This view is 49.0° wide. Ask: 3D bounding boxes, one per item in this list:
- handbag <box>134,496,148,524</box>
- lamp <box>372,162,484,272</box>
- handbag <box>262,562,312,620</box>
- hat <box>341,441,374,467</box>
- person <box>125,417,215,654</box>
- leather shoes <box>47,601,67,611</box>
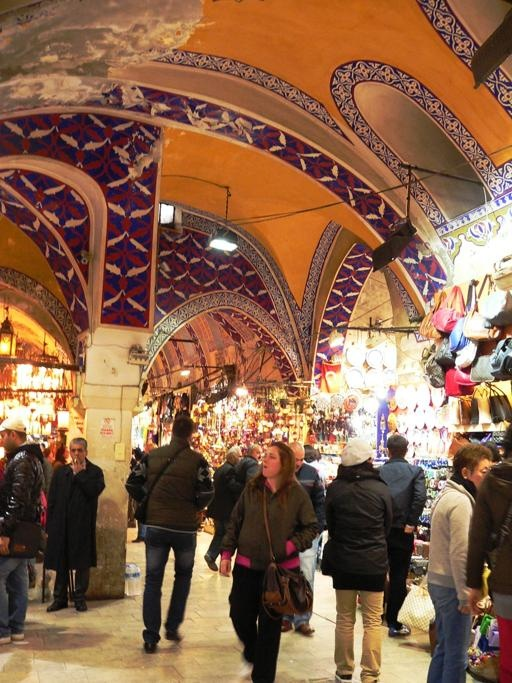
[{"bbox_3d":[-0.817,1.223,4.028,0.053,0.206,0.148,9,-10,-10],"label":"handbag"},{"bbox_3d":[1.672,-1.373,5.898,0.436,1.005,1.315,7,-11,-19],"label":"lamp"},{"bbox_3d":[0.150,1.235,2.770,0.255,0.268,0.134,11,-13,-37],"label":"handbag"},{"bbox_3d":[0.602,0.664,3.347,0.133,0.183,0.151,7,-50,26],"label":"hat"},{"bbox_3d":[-0.631,1.359,4.122,0.586,1.548,0.462,3,-13,1],"label":"person"},{"bbox_3d":[-1.847,2.447,5.187,0.066,0.081,0.198,-13,-24,31],"label":"leather shoes"}]
